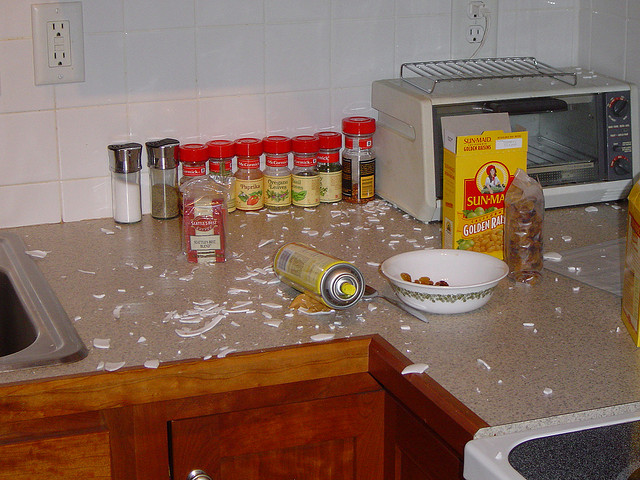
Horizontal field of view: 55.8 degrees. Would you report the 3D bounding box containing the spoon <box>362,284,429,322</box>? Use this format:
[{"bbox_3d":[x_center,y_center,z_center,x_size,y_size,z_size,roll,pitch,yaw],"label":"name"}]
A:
[{"bbox_3d":[0.138,0.116,1.104,0.137,0.035,0.040,8,19,33],"label":"spoon"}]

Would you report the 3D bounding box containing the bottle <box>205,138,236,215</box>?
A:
[{"bbox_3d":[-0.246,-0.153,1.530,0.078,0.188,0.251,-5,16,-9],"label":"bottle"}]

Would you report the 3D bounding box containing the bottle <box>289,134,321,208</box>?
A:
[{"bbox_3d":[-0.042,-0.177,1.599,0.083,0.179,0.070,-3,16,-2],"label":"bottle"}]

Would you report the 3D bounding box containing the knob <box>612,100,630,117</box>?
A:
[{"bbox_3d":[0.762,-0.333,1.530,0.051,0.042,0.011,-9,18,-23],"label":"knob"}]

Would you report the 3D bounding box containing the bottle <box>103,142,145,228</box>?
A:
[{"bbox_3d":[-0.481,-0.138,1.497,0.086,0.199,0.091,-2,16,1],"label":"bottle"}]

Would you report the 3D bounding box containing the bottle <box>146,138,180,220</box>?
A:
[{"bbox_3d":[-0.397,-0.153,1.527,0.103,0.196,0.090,1,17,13],"label":"bottle"}]

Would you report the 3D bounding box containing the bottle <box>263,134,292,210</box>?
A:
[{"bbox_3d":[-0.116,-0.184,1.622,0.084,0.187,0.116,-3,16,-1],"label":"bottle"}]

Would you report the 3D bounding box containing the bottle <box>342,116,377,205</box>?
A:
[{"bbox_3d":[0.082,-0.218,1.641,0.132,0.219,0.091,12,22,41],"label":"bottle"}]

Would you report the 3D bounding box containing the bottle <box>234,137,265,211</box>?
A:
[{"bbox_3d":[-0.189,-0.167,1.573,0.076,0.179,0.039,-5,16,-8],"label":"bottle"}]

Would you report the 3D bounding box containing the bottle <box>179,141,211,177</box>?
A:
[{"bbox_3d":[-0.318,-0.202,1.516,0.085,0.084,0.082,0,21,-3],"label":"bottle"}]

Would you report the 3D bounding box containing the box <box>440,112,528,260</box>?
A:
[{"bbox_3d":[0.332,-0.088,1.233,0.161,0.263,0.110,2,17,15],"label":"box"}]

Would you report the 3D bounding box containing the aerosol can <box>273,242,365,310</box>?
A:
[{"bbox_3d":[-0.012,0.069,1.132,0.199,0.097,0.097,11,21,38],"label":"aerosol can"}]
